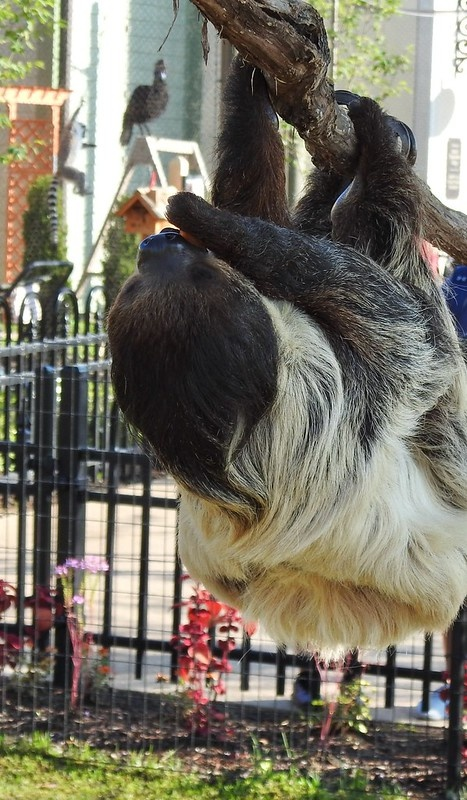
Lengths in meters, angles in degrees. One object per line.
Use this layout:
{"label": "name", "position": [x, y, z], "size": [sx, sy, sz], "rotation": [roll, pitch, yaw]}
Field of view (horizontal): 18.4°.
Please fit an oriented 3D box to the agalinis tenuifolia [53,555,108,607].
{"label": "agalinis tenuifolia", "position": [-0.661, 0.757, 6.145], "size": [0.225, 0.237, 0.168], "rotation": [-23, 29, -36]}
